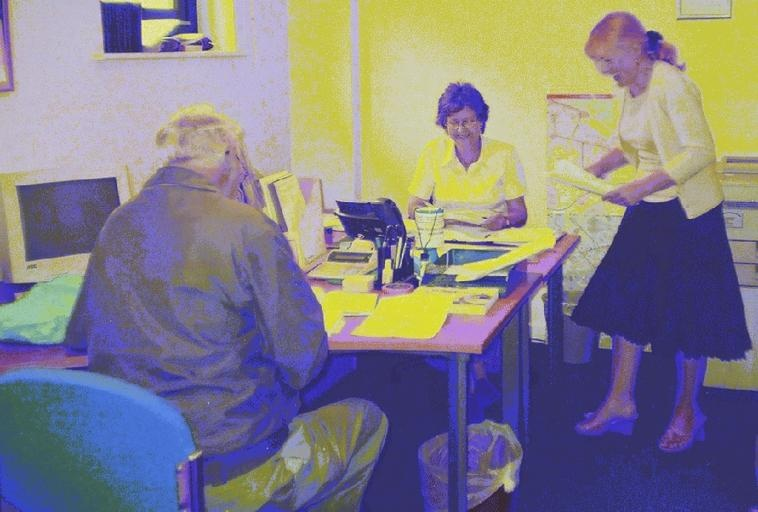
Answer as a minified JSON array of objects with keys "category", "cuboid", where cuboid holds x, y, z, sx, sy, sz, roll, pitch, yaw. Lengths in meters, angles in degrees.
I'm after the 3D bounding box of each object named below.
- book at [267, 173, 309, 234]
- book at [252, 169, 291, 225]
[{"category":"book","cuboid":[-0.453,-0.267,3.204,0.057,0.258,0.254,0,11,26]},{"category":"book","cuboid":[-0.525,-0.295,3.141,0.055,0.248,0.245,-6,1,23]}]
